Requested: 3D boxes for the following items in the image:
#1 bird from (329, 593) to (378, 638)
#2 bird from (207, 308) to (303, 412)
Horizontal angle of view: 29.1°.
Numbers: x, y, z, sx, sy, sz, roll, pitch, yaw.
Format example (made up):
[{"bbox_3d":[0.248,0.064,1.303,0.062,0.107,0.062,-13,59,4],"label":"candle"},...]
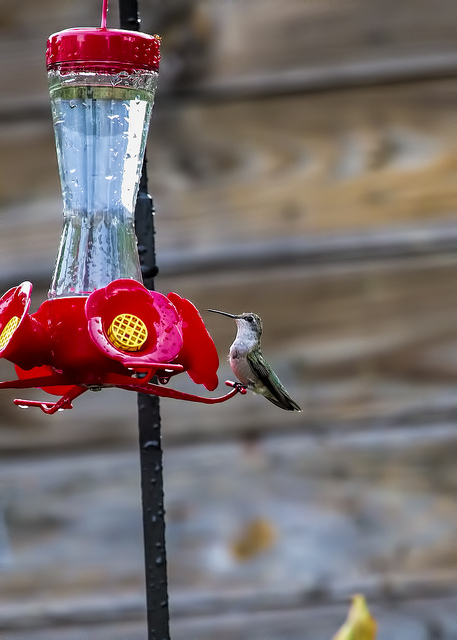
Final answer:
[{"bbox_3d":[0.271,0.640,1.897,0.055,0.089,0.099,-24,-27,36],"label":"bird"},{"bbox_3d":[0.075,0.094,2.362,0.301,0.210,0.114,13,-11,-33],"label":"bird"}]
